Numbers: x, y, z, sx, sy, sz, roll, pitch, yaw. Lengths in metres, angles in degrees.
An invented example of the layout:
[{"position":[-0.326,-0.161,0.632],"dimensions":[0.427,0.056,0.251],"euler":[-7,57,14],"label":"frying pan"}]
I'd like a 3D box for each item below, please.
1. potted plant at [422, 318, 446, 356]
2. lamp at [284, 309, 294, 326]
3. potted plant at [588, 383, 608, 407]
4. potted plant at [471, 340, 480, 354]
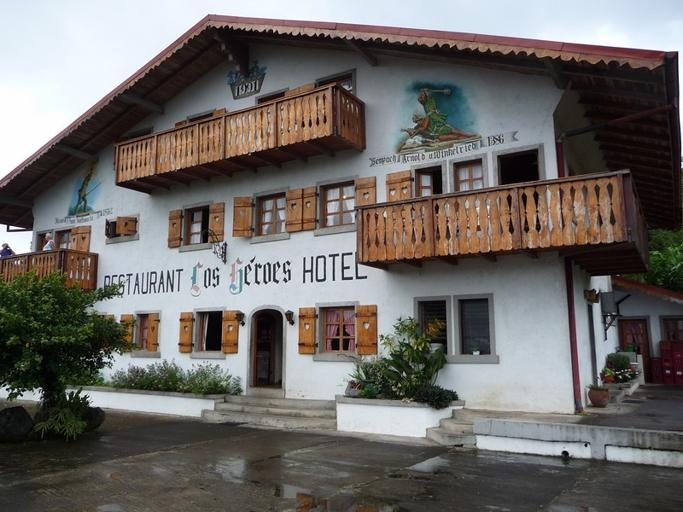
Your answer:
[{"position":[2.580,2.201,15.556],"dimensions":[0.592,0.971,0.963],"euler":[-2,-9,13],"label":"potted plant"},{"position":[-1.623,1.949,17.901],"dimensions":[0.377,0.374,0.466],"euler":[-2,-32,2],"label":"lamp"},{"position":[6.884,3.798,15.347],"dimensions":[0.457,0.682,0.484],"euler":[1,-3,6],"label":"potted plant"},{"position":[3.684,2.493,15.425],"dimensions":[0.270,0.566,0.286],"euler":[-1,-3,19],"label":"potted plant"}]
